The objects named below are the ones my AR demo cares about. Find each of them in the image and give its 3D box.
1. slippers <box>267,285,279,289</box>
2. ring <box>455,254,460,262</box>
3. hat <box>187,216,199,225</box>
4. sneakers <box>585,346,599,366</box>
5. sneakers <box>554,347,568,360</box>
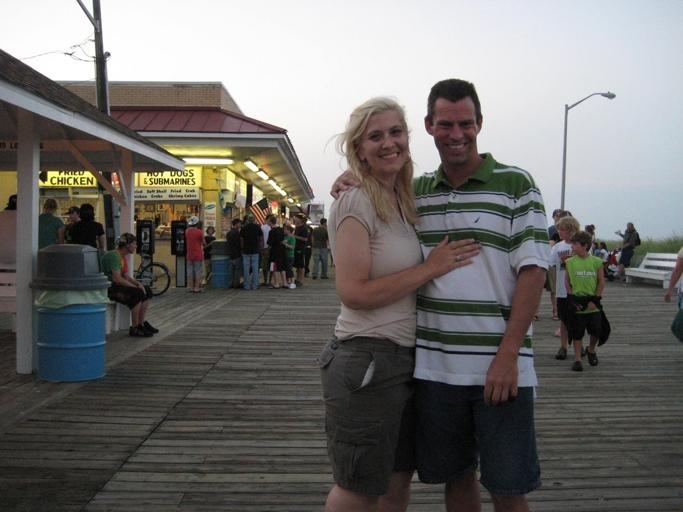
[{"bbox_3d":[-2.002,0.901,16.947,0.322,0.090,0.122,3,-3,4],"label":"slippers"},{"bbox_3d":[0.599,0.014,3.014,0.032,0.031,0.008,1,4,-1],"label":"ring"},{"bbox_3d":[-3.897,-0.919,15.343,0.243,0.132,0.302,1,24,-10],"label":"hat"},{"bbox_3d":[3.307,1.304,7.698,0.128,0.121,0.319,-2,15,5],"label":"sneakers"},{"bbox_3d":[3.001,1.349,8.024,0.140,0.150,0.377,-2,-6,20],"label":"sneakers"}]
